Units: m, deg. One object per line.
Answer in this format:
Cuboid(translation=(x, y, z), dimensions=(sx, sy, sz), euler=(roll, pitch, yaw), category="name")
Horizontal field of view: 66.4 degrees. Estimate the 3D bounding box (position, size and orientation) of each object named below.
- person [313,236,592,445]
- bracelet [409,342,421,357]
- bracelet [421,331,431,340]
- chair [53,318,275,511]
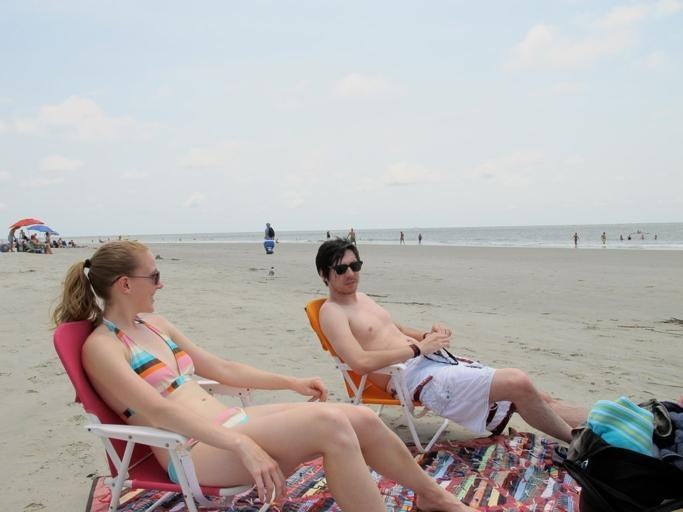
Cuboid(translation=(1.008, 0.811, 4.332), dimensions=(2.784, 1.370, 1.018), euler=(13, 18, 2), category="person")
Cuboid(translation=(0.571, 0.741, 4.106), dimensions=(0.044, 0.088, 0.091), euler=(-11, 2, -12), category="bracelet")
Cuboid(translation=(0.723, 0.693, 4.514), dimensions=(0.085, 0.045, 0.095), euler=(-9, -4, -4), category="bracelet")
Cuboid(translation=(-1.260, 0.975, 3.562), dimensions=(1.609, 1.192, 1.162), euler=(0, 0, 11), category="chair")
